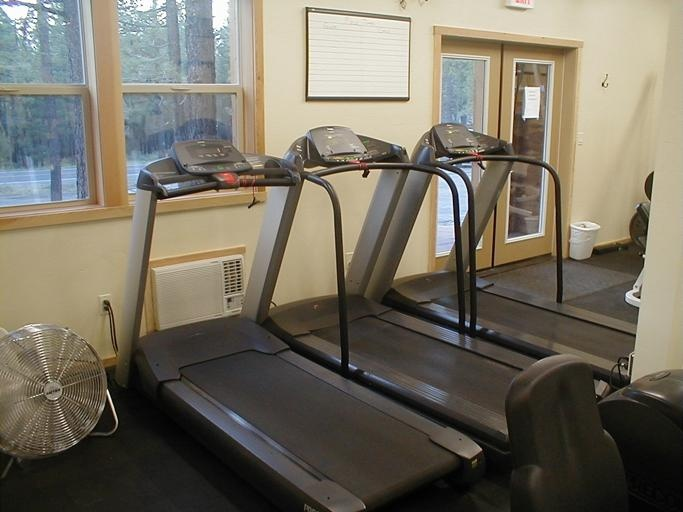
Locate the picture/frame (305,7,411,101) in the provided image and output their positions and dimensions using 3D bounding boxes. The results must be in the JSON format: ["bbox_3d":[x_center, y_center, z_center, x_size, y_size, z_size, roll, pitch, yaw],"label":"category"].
[{"bbox_3d":[0.152,-1.701,4.563,1.056,0.711,0.110,-10,22,-30],"label":"picture/frame"}]
